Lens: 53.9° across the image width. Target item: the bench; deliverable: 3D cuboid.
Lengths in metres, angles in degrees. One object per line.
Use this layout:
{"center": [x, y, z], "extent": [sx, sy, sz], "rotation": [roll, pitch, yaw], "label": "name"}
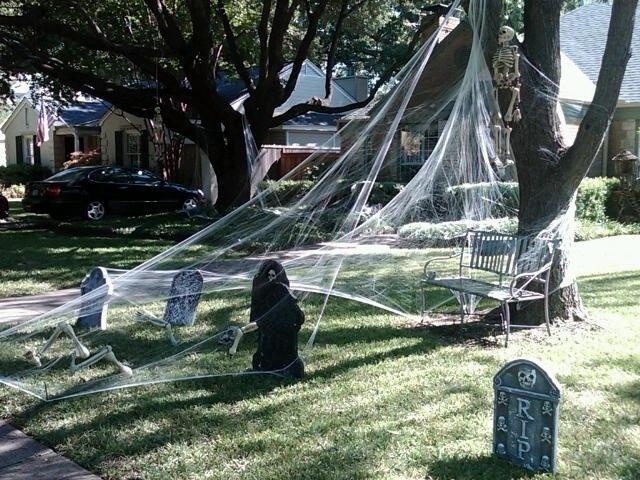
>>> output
{"center": [2.034, 0.522, 7.762], "extent": [0.748, 1.181, 1.761], "rotation": [-3, 5, -20], "label": "bench"}
